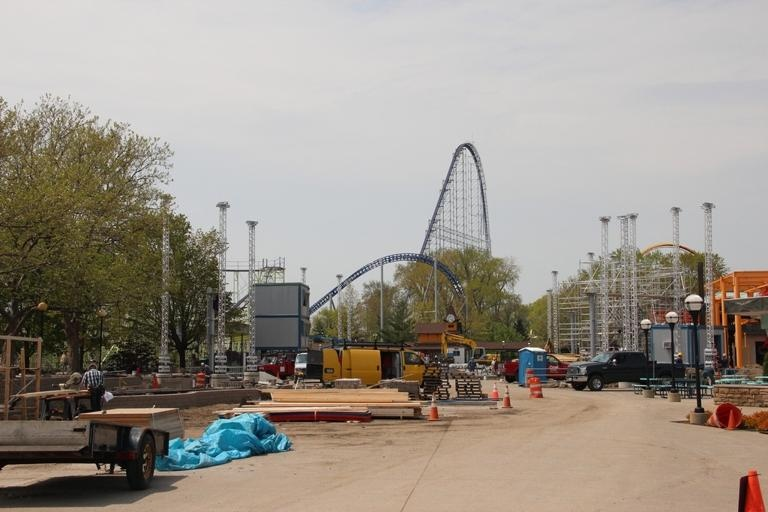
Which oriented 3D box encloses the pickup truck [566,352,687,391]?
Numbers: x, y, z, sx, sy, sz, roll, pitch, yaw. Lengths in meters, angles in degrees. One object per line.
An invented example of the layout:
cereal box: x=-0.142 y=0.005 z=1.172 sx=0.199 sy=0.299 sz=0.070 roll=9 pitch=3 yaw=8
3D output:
pickup truck: x=12.454 y=5.988 z=52.803 sx=5.218 sy=1.792 sz=2.439 roll=1 pitch=-6 yaw=-3

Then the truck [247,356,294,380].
truck: x=-7.102 y=7.217 z=65.671 sx=2.188 sy=2.009 sz=4.037 roll=0 pitch=-12 yaw=-6

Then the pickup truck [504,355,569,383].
pickup truck: x=9.155 y=6.888 z=60.715 sx=3.219 sy=1.496 sz=1.820 roll=-2 pitch=-4 yaw=10

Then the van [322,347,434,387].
van: x=-0.447 y=5.253 z=45.773 sx=3.476 sy=1.723 sz=2.099 roll=-1 pitch=-3 yaw=-3

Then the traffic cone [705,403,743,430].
traffic cone: x=12.078 y=5.637 z=35.293 sx=0.884 sy=0.845 sz=0.971 roll=-5 pitch=-26 yaw=16

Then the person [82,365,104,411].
person: x=-10.061 y=4.575 z=34.606 sx=0.692 sy=1.403 sz=0.474 roll=3 pitch=-11 yaw=-17
